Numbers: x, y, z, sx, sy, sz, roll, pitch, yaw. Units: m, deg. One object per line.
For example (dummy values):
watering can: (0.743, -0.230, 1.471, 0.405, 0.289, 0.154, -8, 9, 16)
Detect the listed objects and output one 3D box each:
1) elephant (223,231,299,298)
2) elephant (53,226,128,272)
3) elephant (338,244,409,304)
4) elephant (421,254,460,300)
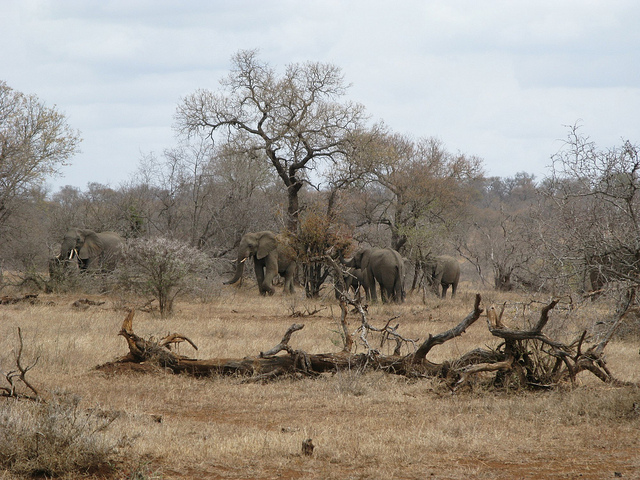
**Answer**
elephant: (-2.009, 0.941, 40.749, 2.267, 2.545, 3.808, -7, 16, -26)
elephant: (-8.699, 0.640, 40.568, 1.452, 2.065, 3.216, -7, -10, 44)
elephant: (1.995, 1.292, 39.176, 2.868, 2.134, 0.819, 1, -1, 40)
elephant: (4.953, 1.413, 42.475, 0.919, 2.169, 2.450, 8, 17, 31)
